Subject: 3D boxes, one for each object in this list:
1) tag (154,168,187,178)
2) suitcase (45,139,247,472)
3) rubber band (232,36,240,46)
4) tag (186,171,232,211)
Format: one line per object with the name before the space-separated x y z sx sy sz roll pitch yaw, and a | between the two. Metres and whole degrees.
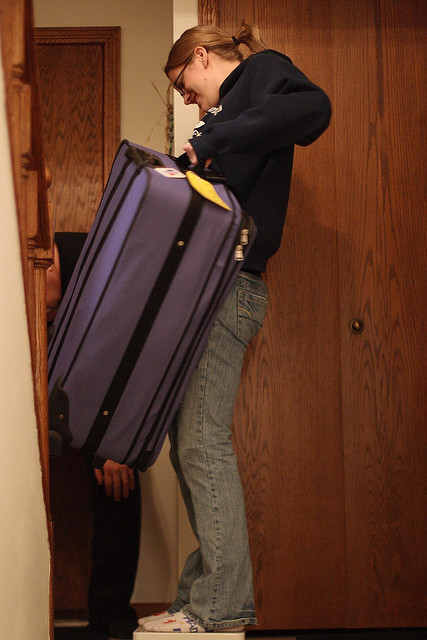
tag | -0.073 -0.255 1.140 0.036 0.017 0.055 15 12 31
suitcase | -0.131 -0.017 1.204 0.318 0.586 0.158 5 10 -18
rubber band | 0.052 -0.648 1.525 0.014 0.020 0.028 9 10 8
tag | -0.017 -0.222 1.154 0.069 0.070 0.081 -1 11 -20
